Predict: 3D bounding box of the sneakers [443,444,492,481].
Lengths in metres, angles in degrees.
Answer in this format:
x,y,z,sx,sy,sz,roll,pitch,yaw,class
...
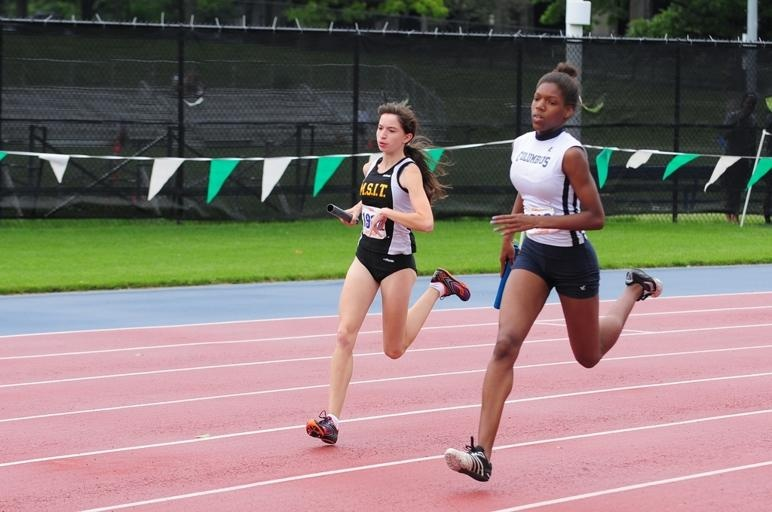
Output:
x,y,z,sx,sy,sz,roll,pitch,yaw,class
0.655,1.568,7.311,0.181,0.241,0.513,-13,-37,41,sneakers

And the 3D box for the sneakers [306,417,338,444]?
x,y,z,sx,sy,sz,roll,pitch,yaw,class
-0.540,1.473,8.078,0.266,0.274,0.288,0,12,-4,sneakers

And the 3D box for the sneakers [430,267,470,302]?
x,y,z,sx,sy,sz,roll,pitch,yaw,class
0.743,0.383,10.003,0.508,0.219,0.173,37,-3,28,sneakers

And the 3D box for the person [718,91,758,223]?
x,y,z,sx,sy,sz,roll,pitch,yaw,class
7.409,-2.000,19.776,0.668,2.661,0.601,2,13,3,person

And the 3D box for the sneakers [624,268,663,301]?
x,y,z,sx,sy,sz,roll,pitch,yaw,class
2.393,0.255,8.853,0.344,0.170,0.238,16,14,-18,sneakers
